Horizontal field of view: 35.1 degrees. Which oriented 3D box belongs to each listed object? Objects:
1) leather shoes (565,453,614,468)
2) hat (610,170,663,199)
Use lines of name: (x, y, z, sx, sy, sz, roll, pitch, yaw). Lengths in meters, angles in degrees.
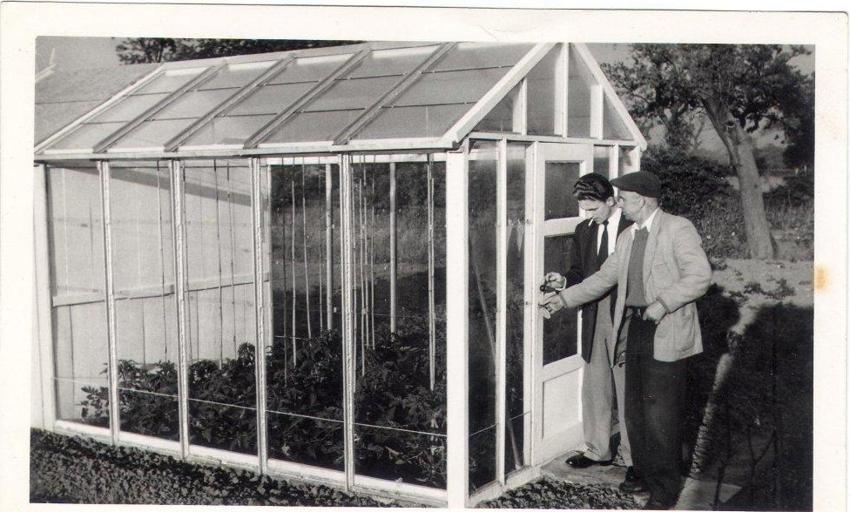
leather shoes: (2.165, 2.709, 17.702, 0.631, 0.240, 0.204, 4, -4, 0)
hat: (2.730, -0.896, 17.049, 0.483, 0.229, 0.358, 5, 14, 8)
